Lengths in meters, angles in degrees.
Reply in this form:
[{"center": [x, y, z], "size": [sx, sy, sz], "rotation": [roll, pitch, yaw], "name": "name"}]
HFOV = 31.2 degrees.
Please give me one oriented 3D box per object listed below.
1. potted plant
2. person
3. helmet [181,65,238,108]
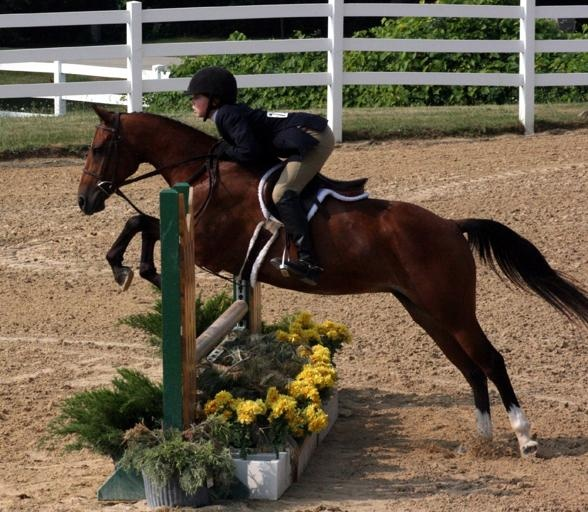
[{"center": [-0.811, 1.474, 7.330], "size": [0.777, 0.608, 0.389], "rotation": [-7, 9, -8], "name": "potted plant"}, {"center": [-0.211, -0.640, 8.069], "size": [1.125, 1.643, 0.598], "rotation": [-3, 2, 3], "name": "person"}, {"center": [-0.678, -1.278, 8.055], "size": [0.489, 0.382, 0.347], "rotation": [-3, 7, -27], "name": "helmet"}]
